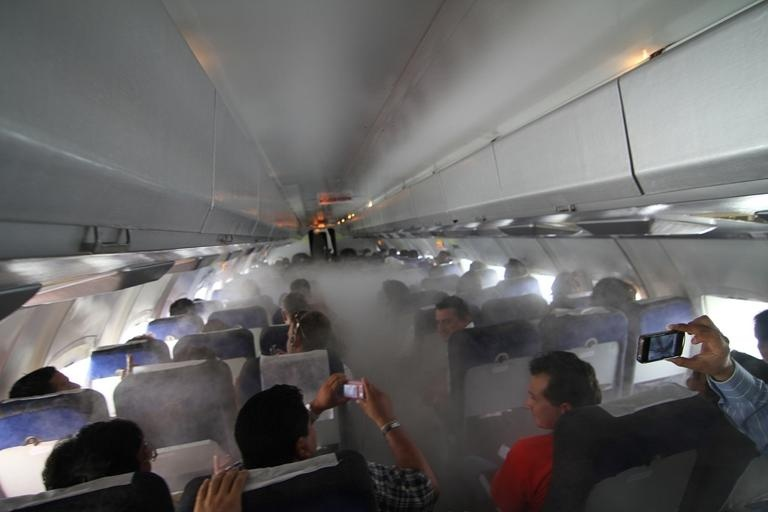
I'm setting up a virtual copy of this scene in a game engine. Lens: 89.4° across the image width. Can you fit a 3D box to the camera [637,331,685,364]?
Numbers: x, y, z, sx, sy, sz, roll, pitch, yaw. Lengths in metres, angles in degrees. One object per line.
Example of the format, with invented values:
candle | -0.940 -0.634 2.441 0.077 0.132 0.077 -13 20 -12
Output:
camera | 1.929 0.629 2.684 0.371 0.194 0.203 -1 -5 -37
